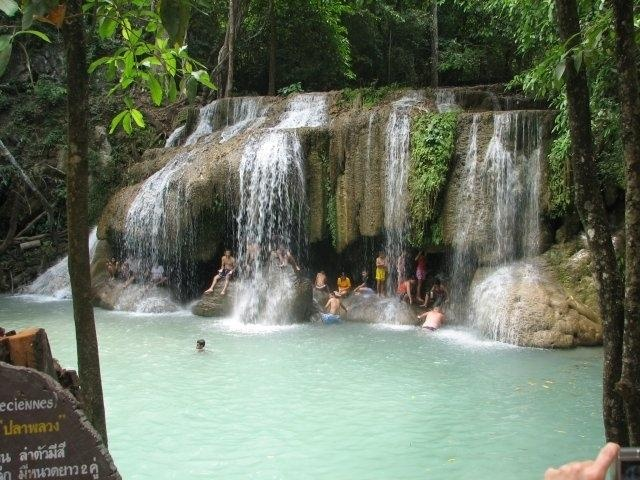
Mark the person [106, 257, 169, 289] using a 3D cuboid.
[{"bbox_3d":[-5.316,0.996,17.843,0.961,0.737,1.236,31,-14,-38],"label":"person"}]

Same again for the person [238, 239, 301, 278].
[{"bbox_3d":[-1.323,0.476,16.231,1.215,0.531,0.968,-15,-5,36],"label":"person"}]

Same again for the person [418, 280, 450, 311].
[{"bbox_3d":[2.851,1.370,15.337,0.630,1.015,0.455,15,45,16],"label":"person"}]

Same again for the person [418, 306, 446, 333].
[{"bbox_3d":[2.518,1.823,13.942,0.348,0.309,0.821,3,24,17],"label":"person"}]

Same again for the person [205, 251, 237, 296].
[{"bbox_3d":[-2.512,0.793,16.062,0.481,0.973,1.197,3,12,13],"label":"person"}]

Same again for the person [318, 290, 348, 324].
[{"bbox_3d":[0.315,1.648,15.056,0.600,0.640,1.088,0,5,8],"label":"person"}]

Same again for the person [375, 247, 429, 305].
[{"bbox_3d":[2.098,0.943,15.813,1.092,1.525,0.476,1,3,18],"label":"person"}]
